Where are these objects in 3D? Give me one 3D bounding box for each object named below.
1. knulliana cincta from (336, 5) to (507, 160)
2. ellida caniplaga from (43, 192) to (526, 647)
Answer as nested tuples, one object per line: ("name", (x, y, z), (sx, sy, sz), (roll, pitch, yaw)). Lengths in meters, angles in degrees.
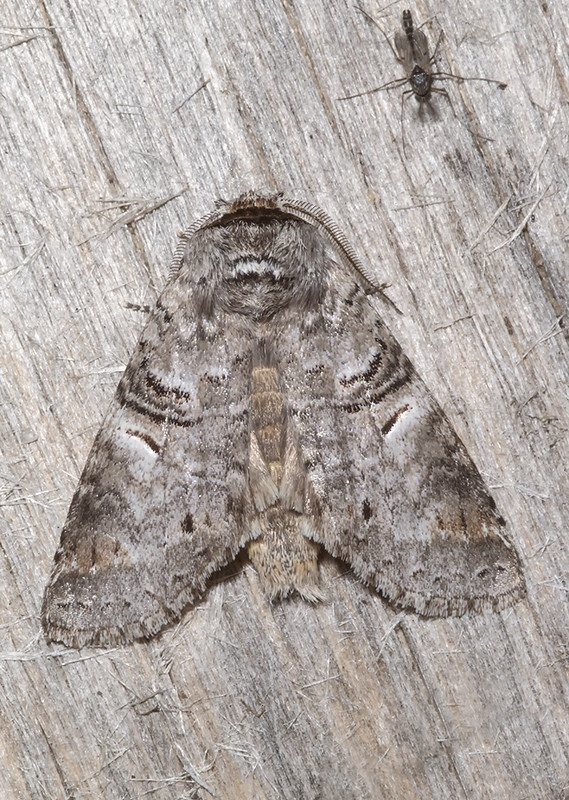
("knulliana cincta", (0.514, -1.186, 3.896), (0.688, 0.127, 0.446), (33, 83, 3))
("ellida caniplaga", (-0.058, 0.105, 3.706), (1.657, 0.378, 1.423), (-4, 82, -1))
